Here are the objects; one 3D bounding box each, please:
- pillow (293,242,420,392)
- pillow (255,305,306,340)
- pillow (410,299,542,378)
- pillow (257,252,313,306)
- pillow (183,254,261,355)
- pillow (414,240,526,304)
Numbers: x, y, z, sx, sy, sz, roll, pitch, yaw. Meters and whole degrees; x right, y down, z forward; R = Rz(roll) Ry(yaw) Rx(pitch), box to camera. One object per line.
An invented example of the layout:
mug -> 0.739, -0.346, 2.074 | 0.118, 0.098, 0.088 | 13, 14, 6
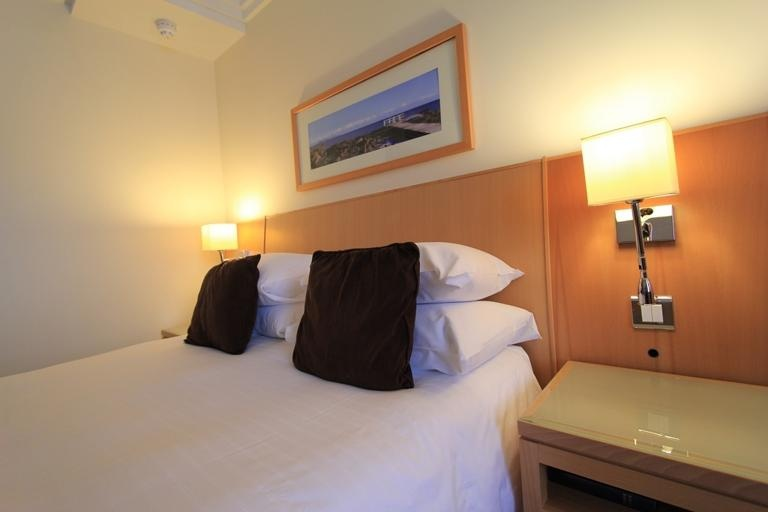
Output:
pillow -> -0.150, 0.287, 2.410 | 0.695, 0.680, 0.273 | -1, -5, 36
pillow -> -0.589, 0.361, 2.834 | 0.219, 0.220, 0.096 | -3, -26, 29
pillow -> 0.424, 0.355, 2.315 | 0.380, 0.153, 0.379 | 5, 11, -1
pillow -> -0.562, 0.132, 2.869 | 0.288, 0.293, 0.135 | 3, -43, -3
pillow -> -0.948, 0.297, 2.938 | 0.454, 0.368, 0.200 | -35, -22, 35
pillow -> 0.410, 0.072, 2.451 | 0.573, 0.295, 0.241 | -6, 4, -40
